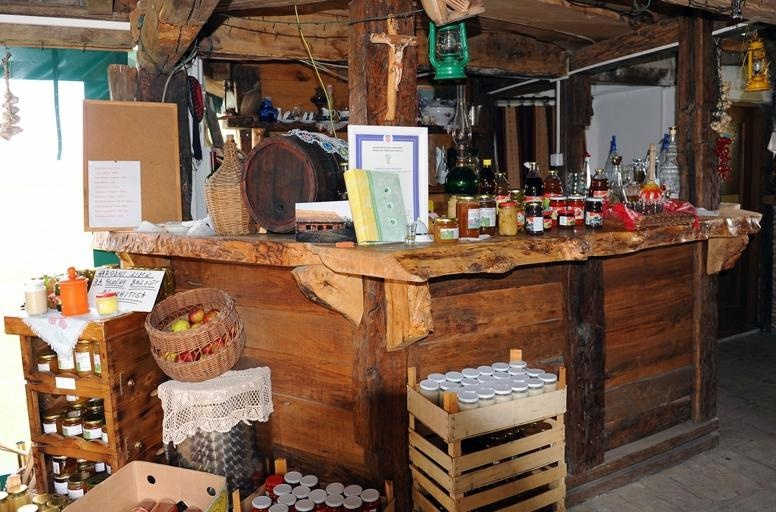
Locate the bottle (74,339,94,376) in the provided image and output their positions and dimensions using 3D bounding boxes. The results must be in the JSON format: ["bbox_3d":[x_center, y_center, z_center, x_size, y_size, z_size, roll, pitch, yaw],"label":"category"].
[{"bbox_3d":[-1.928,0.644,3.689,0.115,0.219,0.040,-8,13,-14],"label":"bottle"}]

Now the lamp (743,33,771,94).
[{"bbox_3d":[3.105,-1.623,4.878,0.168,0.469,0.466,2,13,30],"label":"lamp"}]

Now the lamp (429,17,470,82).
[{"bbox_3d":[0.365,-1.235,3.528,0.222,0.343,0.167,-4,12,3],"label":"lamp"}]

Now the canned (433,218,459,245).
[{"bbox_3d":[0.314,-0.136,3.186,0.146,0.104,0.133,-1,5,-14],"label":"canned"}]

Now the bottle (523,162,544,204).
[{"bbox_3d":[0.897,-0.456,3.611,0.109,0.225,0.367,-2,11,12],"label":"bottle"}]

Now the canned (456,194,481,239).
[{"bbox_3d":[0.455,-0.215,3.266,0.130,0.226,0.117,-3,12,7],"label":"canned"}]

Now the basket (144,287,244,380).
[{"bbox_3d":[-1.159,0.456,3.639,0.546,0.324,0.513,-8,30,-25],"label":"basket"}]

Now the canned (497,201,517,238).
[{"bbox_3d":[0.703,-0.221,3.400,0.115,0.194,0.159,-2,12,10],"label":"canned"}]

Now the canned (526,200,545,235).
[{"bbox_3d":[0.849,-0.213,3.364,0.102,0.179,0.075,-4,12,0],"label":"canned"}]

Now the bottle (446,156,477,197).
[{"bbox_3d":[0.413,-0.488,3.662,0.263,0.298,0.240,0,-2,1],"label":"bottle"}]

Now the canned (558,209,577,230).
[{"bbox_3d":[1.076,-0.218,3.509,0.121,0.112,0.117,-7,11,-44],"label":"canned"}]

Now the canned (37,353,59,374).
[{"bbox_3d":[-2.189,0.694,3.770,0.142,0.110,0.130,1,-3,-24],"label":"canned"}]

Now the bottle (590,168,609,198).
[{"bbox_3d":[1.397,-0.467,3.855,0.122,0.195,0.290,0,12,20],"label":"bottle"}]

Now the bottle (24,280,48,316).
[{"bbox_3d":[-2.291,0.266,3.784,0.143,0.227,0.149,-4,12,1],"label":"bottle"}]

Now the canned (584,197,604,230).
[{"bbox_3d":[1.267,-0.258,3.570,0.102,0.188,0.059,-4,12,1],"label":"canned"}]

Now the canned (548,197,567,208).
[{"bbox_3d":[1.041,-0.324,3.564,0.093,0.072,0.084,-1,8,-6],"label":"canned"}]

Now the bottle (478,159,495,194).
[{"bbox_3d":[0.621,-0.502,3.669,0.103,0.204,0.368,-3,11,8],"label":"bottle"}]

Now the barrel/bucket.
[{"bbox_3d":[-0.556,-0.453,3.661,0.621,0.577,0.830,4,8,16],"label":"barrel/bucket"}]
